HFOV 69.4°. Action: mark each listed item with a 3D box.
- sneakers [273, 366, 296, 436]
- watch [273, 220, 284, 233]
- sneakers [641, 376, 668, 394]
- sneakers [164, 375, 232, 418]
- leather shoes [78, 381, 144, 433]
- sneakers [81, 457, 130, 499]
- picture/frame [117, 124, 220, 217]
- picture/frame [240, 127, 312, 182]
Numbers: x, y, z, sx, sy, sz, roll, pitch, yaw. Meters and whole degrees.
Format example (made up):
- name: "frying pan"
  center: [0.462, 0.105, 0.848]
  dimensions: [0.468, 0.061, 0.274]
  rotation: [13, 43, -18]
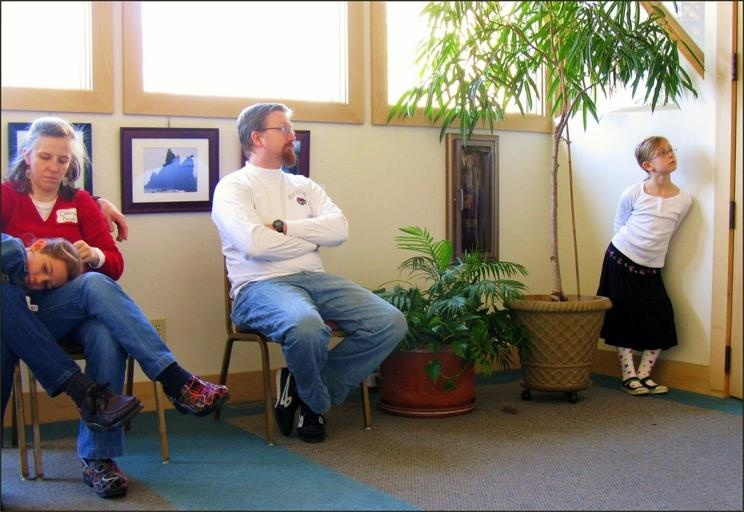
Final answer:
- name: "sneakers"
  center: [-0.483, 0.749, 2.828]
  dimensions: [0.136, 0.341, 0.118]
  rotation: [-3, 4, 37]
- name: "watch"
  center: [-0.499, -0.159, 2.877]
  dimensions: [0.046, 0.071, 0.072]
  rotation: [-8, 16, -31]
- name: "sneakers"
  center: [1.821, 0.842, 3.505]
  dimensions: [0.178, 0.072, 0.083]
  rotation: [4, 7, 42]
- name: "sneakers"
  center: [-0.749, 0.609, 2.337]
  dimensions: [0.334, 0.148, 0.149]
  rotation: [-16, 0, 44]
- name: "leather shoes"
  center: [-1.038, 0.596, 2.132]
  dimensions: [0.248, 0.171, 0.121]
  rotation: [3, 9, 32]
- name: "sneakers"
  center: [-1.106, 0.894, 2.217]
  dimensions: [0.097, 0.122, 0.271]
  rotation: [1, -1, -41]
- name: "picture/frame"
  center: [-1.201, -0.512, 3.218]
  dimensions: [0.049, 0.527, 0.634]
  rotation: [21, 22, 39]
- name: "picture/frame"
  center: [-0.576, -0.593, 3.122]
  dimensions: [0.449, 0.436, 0.033]
  rotation: [1, 2, -38]
